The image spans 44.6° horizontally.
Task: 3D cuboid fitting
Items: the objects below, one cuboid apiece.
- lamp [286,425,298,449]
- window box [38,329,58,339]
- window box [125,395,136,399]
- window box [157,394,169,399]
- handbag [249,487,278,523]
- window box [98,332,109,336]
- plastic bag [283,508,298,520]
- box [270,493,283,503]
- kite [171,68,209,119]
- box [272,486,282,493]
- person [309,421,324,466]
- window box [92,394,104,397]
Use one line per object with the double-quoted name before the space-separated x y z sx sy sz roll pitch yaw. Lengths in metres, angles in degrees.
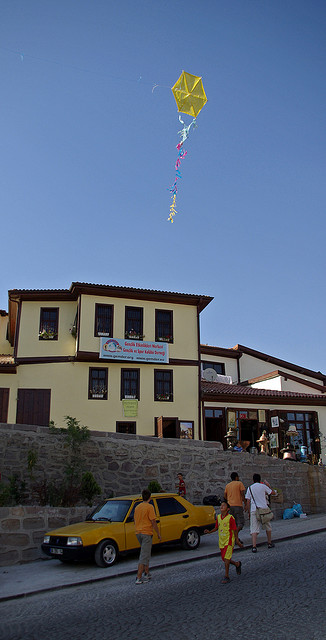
"lamp" 7.173 6.431 22.056 0.527 1.220 2.305 -5 -17 17
"window box" -6.363 0.774 21.648 0.544 0.352 0.542 3 -7 -3
"window box" -1.775 4.105 21.167 0.573 0.210 0.157 1 -16 -9
"window box" -0.027 4.164 21.558 0.655 0.238 0.155 -1 -16 -3
"handbag" 2.130 3.995 8.479 0.478 0.685 0.224 8 -17 -30
"window box" -3.245 0.759 21.336 0.593 0.217 0.140 6 -17 -23
"plastic bag" 4.911 7.445 15.249 0.732 0.295 0.270 10 -19 -32
"box" 4.471 6.929 15.438 0.754 0.345 0.243 13 -21 -39
"kite" 0.430 -4.391 7.461 0.641 0.363 0.672 -26 -5 29
"box" 4.536 6.694 15.633 0.349 0.274 0.199 12 -25 -29
"person" 8.840 7.172 22.762 0.713 2.729 0.820 -7 -30 18
"window box" -3.454 3.959 20.750 0.554 0.131 0.022 2 -15 -11
